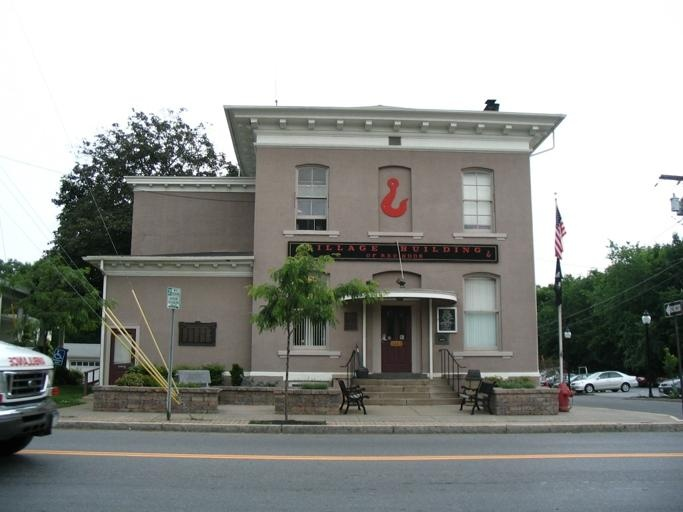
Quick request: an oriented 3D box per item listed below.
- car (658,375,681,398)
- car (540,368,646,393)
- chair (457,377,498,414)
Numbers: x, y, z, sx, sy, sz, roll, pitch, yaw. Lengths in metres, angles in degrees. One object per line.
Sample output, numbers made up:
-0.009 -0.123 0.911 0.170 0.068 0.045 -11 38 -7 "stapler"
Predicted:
18.195 7.252 38.661 0.997 0.973 6.155 -4 -11 24 "car"
16.383 8.017 44.283 4.959 1.358 1.951 6 -12 -29 "car"
4.440 4.690 23.361 0.732 1.176 1.847 -9 -10 1 "chair"
